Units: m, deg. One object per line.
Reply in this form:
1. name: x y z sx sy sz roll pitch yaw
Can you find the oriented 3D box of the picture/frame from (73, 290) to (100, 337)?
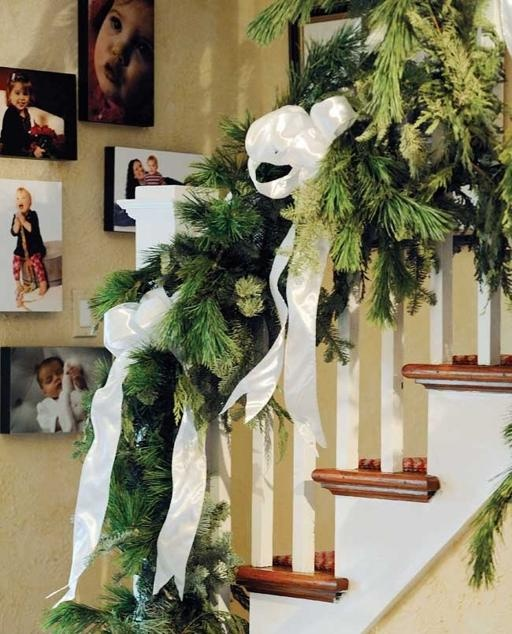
1. picture/frame: -0.447 -0.007 3.109 0.063 0.138 0.016 1 -27 -13
